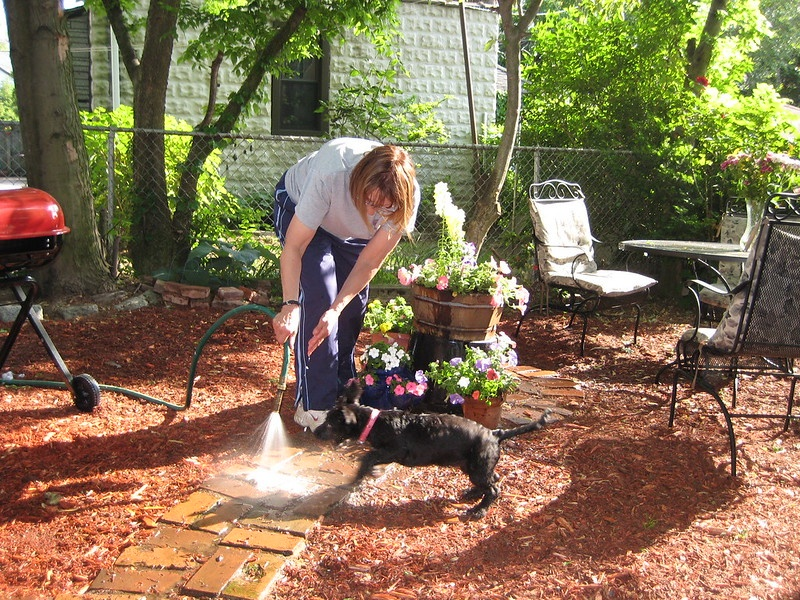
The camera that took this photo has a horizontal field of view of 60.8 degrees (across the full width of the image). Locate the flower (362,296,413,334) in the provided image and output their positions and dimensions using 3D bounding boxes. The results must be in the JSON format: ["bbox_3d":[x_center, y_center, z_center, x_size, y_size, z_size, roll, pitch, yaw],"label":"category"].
[{"bbox_3d":[-0.079,0.131,4.905,0.289,0.172,0.288,3,16,8],"label":"flower"}]

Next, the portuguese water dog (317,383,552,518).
[{"bbox_3d":[0.199,0.746,3.802,1.186,0.658,0.557,7,19,4],"label":"portuguese water dog"}]

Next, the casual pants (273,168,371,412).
[{"bbox_3d":[-0.480,0.005,4.258,0.551,1.475,0.423,5,-3,-19],"label":"casual pants"}]

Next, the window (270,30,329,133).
[{"bbox_3d":[-1.560,-3.324,10.679,0.915,1.482,0.461,-1,15,-18],"label":"window"}]

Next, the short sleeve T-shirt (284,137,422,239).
[{"bbox_3d":[-0.312,-0.606,3.844,0.830,0.597,0.645,4,14,4],"label":"short sleeve T-shirt"}]

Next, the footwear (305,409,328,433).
[{"bbox_3d":[-0.475,0.688,3.920,0.157,0.153,0.087,2,7,3],"label":"footwear"}]

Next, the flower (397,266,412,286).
[{"bbox_3d":[0.005,-0.152,4.682,0.039,0.138,0.127,-6,-2,43],"label":"flower"}]

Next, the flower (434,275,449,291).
[{"bbox_3d":[0.276,-0.102,4.365,0.075,0.104,0.070,4,14,3],"label":"flower"}]
